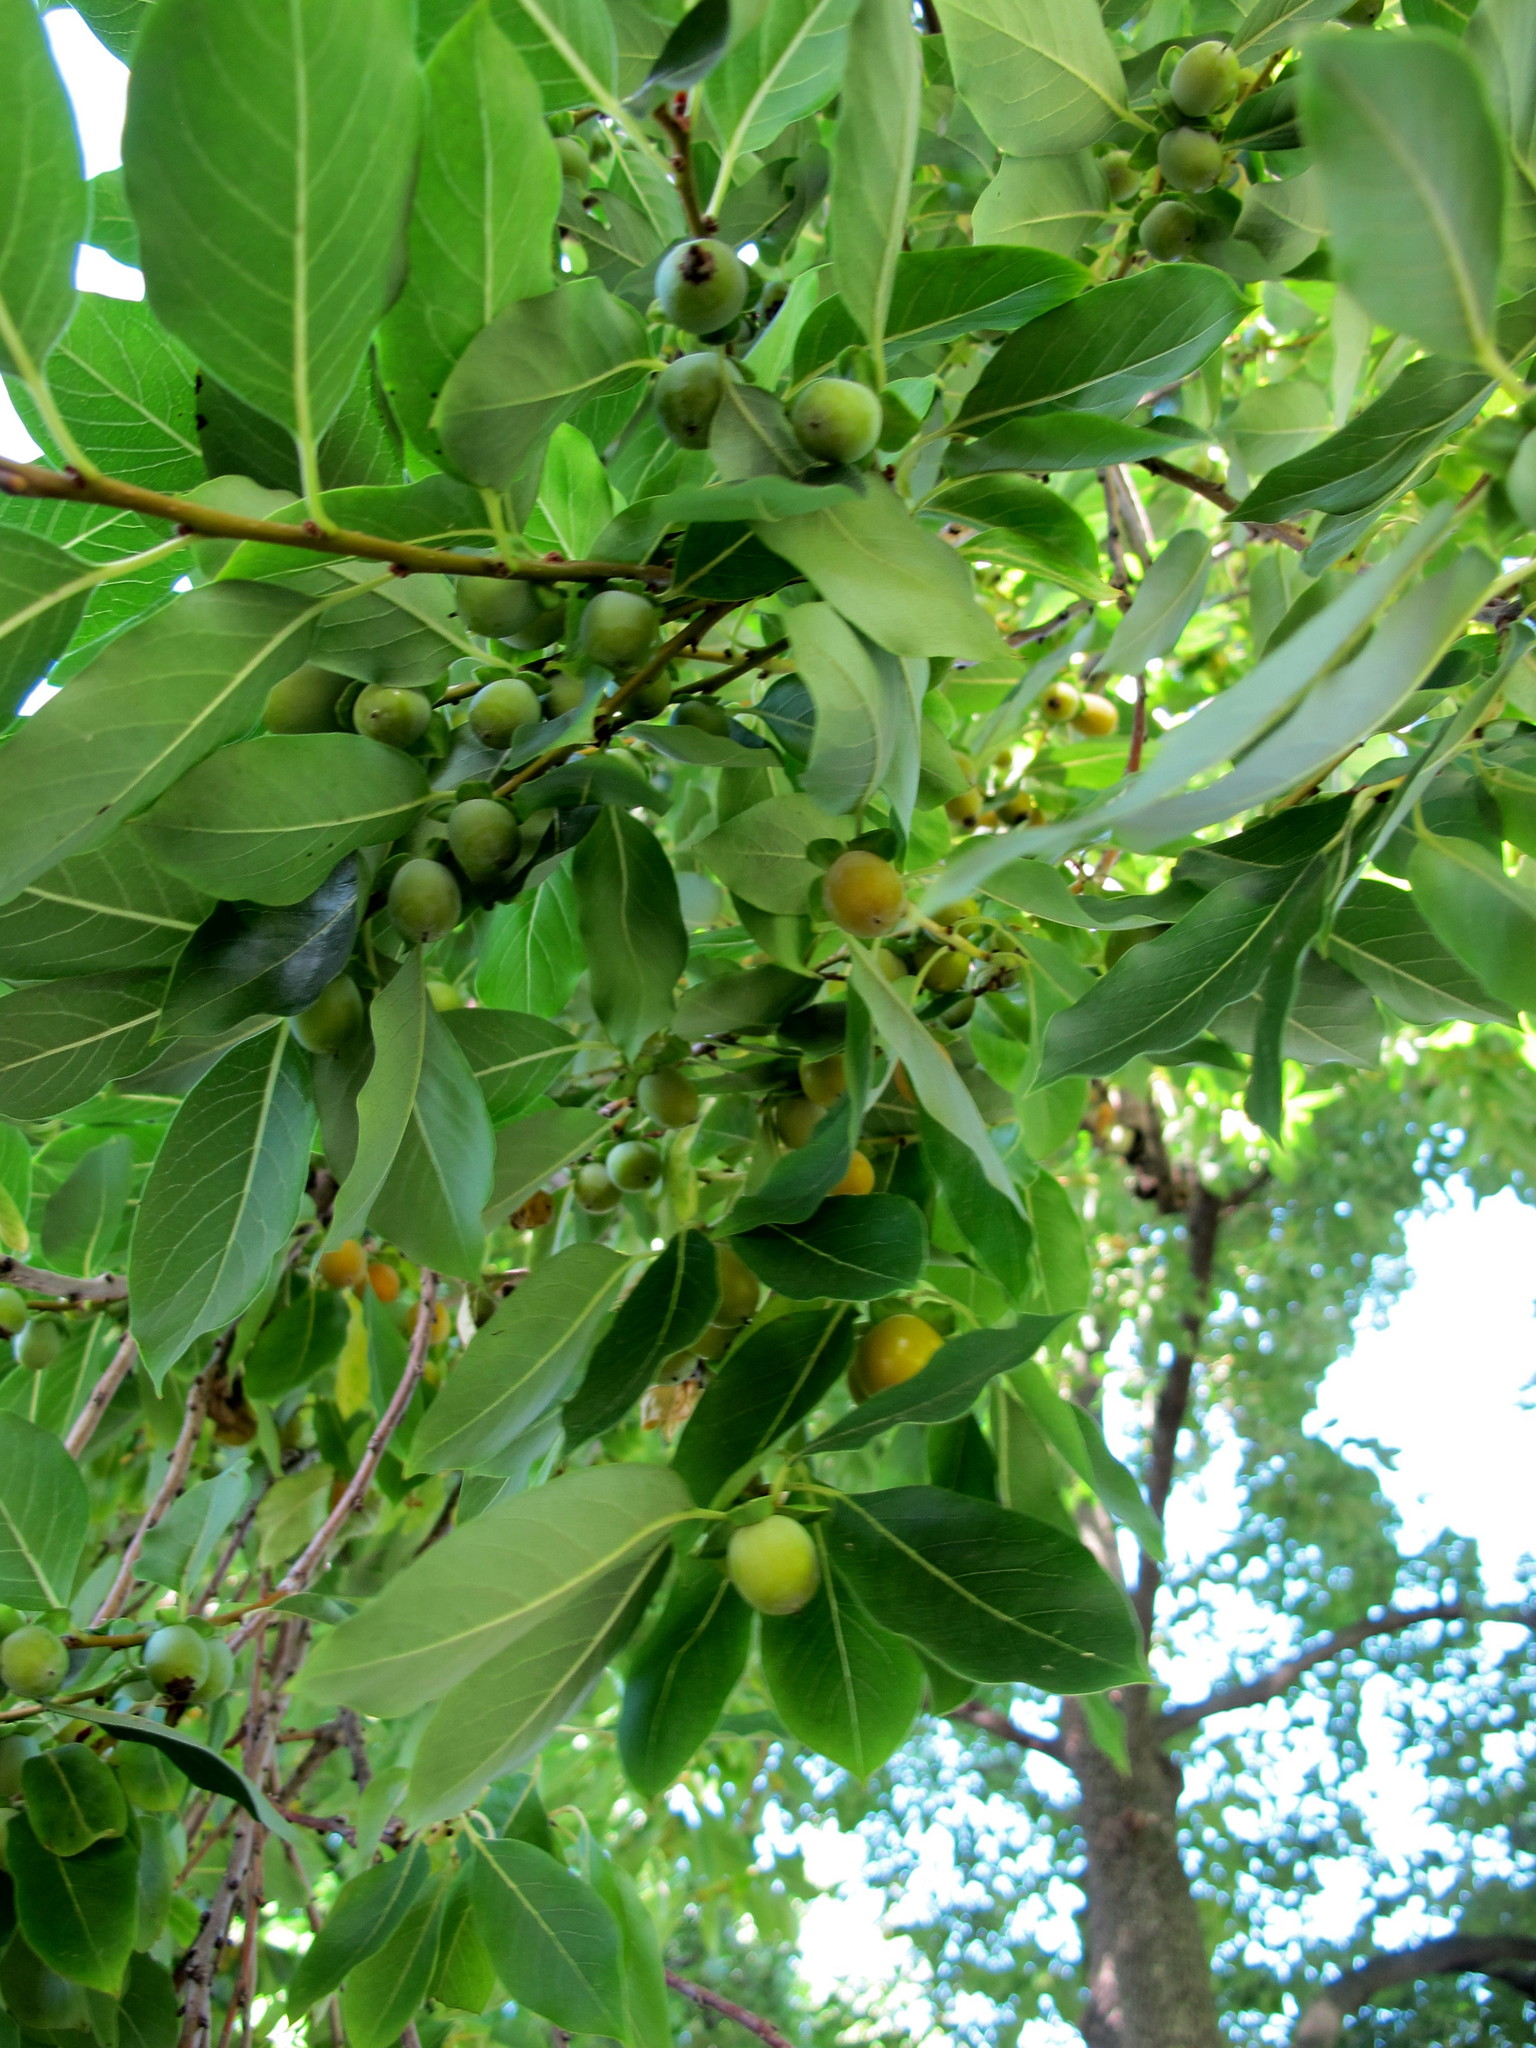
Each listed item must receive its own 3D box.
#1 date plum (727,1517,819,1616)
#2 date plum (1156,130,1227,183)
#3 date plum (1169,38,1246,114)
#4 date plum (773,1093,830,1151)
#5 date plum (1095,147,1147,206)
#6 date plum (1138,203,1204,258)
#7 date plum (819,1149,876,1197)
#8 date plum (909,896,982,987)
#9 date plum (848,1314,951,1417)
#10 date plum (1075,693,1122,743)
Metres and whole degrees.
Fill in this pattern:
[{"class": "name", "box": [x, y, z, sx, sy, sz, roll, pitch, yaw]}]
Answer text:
[{"class": "date plum", "box": [0.004, 0.303, 1.051, 0.061, 0.058, 0.054, -12, -18, 4]}, {"class": "date plum", "box": [0.316, -0.643, 1.383, 0.033, 0.033, 0.040, -3, -48, 52]}, {"class": "date plum", "box": [0.319, -0.686, 1.360, 0.044, 0.052, 0.043, 25, -49, -24]}, {"class": "date plum", "box": [0.020, 0.070, 1.368, 0.034, 0.029, 0.041, -4, -8, -21]}, {"class": "date plum", "box": [0.283, -0.675, 1.492, 0.030, 0.040, 0.034, -36, -87, 3]}, {"class": "date plum", "box": [0.306, -0.598, 1.412, 0.043, 0.019, 0.043, 18, -50, -17]}, {"class": "date plum", "box": [0.064, 0.103, 1.328, 0.045, 0.043, 0.040, -3, -5, 3]}, {"class": "date plum", "box": [0.137, -0.062, 1.437, 0.043, 0.034, 0.069, 6, -28, 12]}, {"class": "date plum", "box": [0.083, 0.224, 1.290, 0.072, 0.086, 0.032, -28, -57, 21]}, {"class": "date plum", "box": [0.417, -0.385, 2.325, 0.057, 0.069, 0.047, -5, -82, -1]}]
